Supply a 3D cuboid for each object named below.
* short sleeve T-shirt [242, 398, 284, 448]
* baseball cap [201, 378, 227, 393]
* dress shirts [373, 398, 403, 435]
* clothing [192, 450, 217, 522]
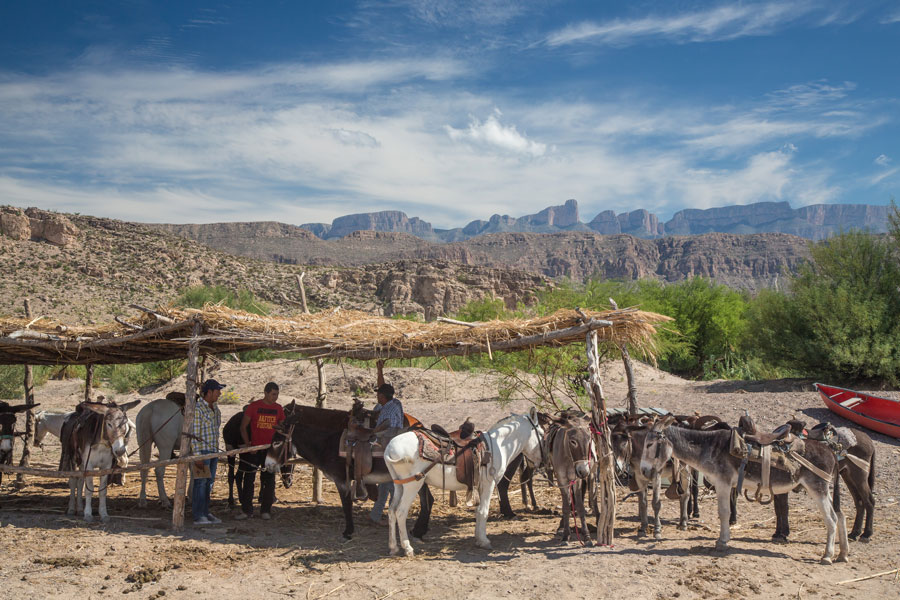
[{"bbox_3d":[-4.465,3.067,23.592,1.261,1.293,0.720,4,7,9],"label":"short sleeve T-shirt"},{"bbox_3d":[-5.860,2.107,23.483,0.557,0.284,0.342,-2,2,-13],"label":"baseball cap"},{"bbox_3d":[-1.421,2.790,22.701,0.649,0.643,0.951,10,-12,-31],"label":"dress shirts"},{"bbox_3d":[-6.032,4.614,23.264,0.616,1.572,0.770,-3,11,-12],"label":"clothing"}]
